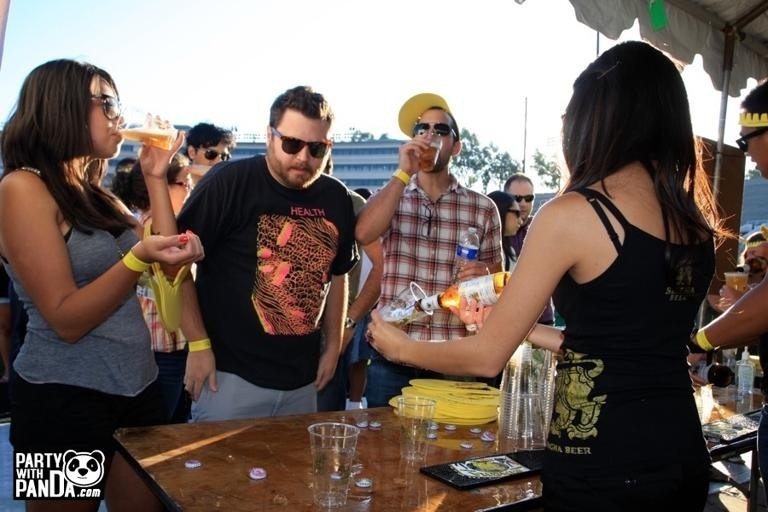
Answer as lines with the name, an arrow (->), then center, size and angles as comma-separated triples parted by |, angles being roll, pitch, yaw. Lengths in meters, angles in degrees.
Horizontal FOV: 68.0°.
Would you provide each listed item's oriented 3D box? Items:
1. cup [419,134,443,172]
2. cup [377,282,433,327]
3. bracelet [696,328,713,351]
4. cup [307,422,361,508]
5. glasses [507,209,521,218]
cup -> 0.310, -0.650, 3.642 | 0.159, 0.219, 0.197 | 5, 24, 13
cup -> 0.123, 0.267, 3.096 | 0.281, 0.177, 0.181 | -31, -38, 23
bracelet -> 1.703, 0.451, 3.089 | 0.074, 0.108, 0.108 | -21, -31, 31
cup -> -0.177, 0.810, 2.237 | 0.263, 0.294, 0.251 | 2, -6, 0
glasses -> 1.334, -0.443, 5.983 | 0.103, 0.101, 0.031 | 4, 1, -36
